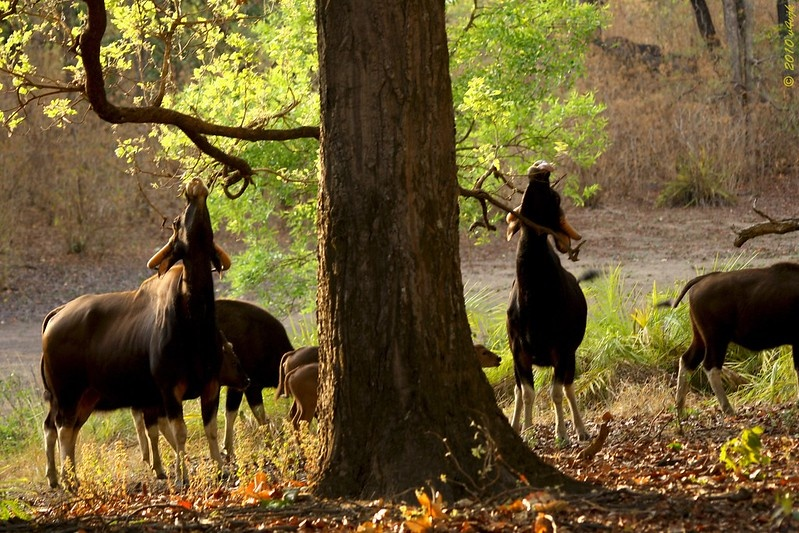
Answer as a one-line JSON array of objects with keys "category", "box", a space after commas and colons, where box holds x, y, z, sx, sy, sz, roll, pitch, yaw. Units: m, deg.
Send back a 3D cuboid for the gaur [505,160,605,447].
[{"category": "gaur", "box": [2.564, 0.657, 26.677, 1.436, 4.898, 1.405, -6, -1, 13]}]
